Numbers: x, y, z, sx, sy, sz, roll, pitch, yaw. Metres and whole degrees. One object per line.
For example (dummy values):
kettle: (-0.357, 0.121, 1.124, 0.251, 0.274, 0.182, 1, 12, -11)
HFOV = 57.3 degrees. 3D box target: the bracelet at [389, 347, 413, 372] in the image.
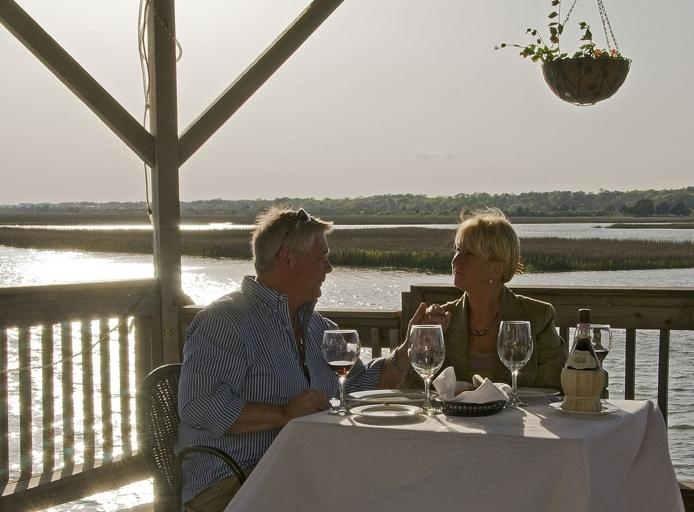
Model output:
bracelet: (0.237, 0.450, 2.785, 0.088, 0.098, 0.102, 1, -3, -1)

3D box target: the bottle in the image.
bottle: (0.826, 0.362, 2.222, 0.117, 0.342, 0.168, 0, 1, 44)

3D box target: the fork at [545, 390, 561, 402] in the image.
fork: (0.790, 0.534, 2.432, 0.042, 0.011, 0.046, -1, 4, -15)

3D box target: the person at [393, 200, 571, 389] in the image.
person: (0.742, 0.266, 3.336, 0.821, 1.321, 0.725, -9, -23, 38)

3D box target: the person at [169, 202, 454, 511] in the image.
person: (-0.216, 0.564, 3.089, 1.118, 1.732, 1.005, -11, -18, 24)

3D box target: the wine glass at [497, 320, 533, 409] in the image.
wine glass: (0.630, 0.392, 2.394, 0.121, 0.299, 0.228, -1, 0, 7)
